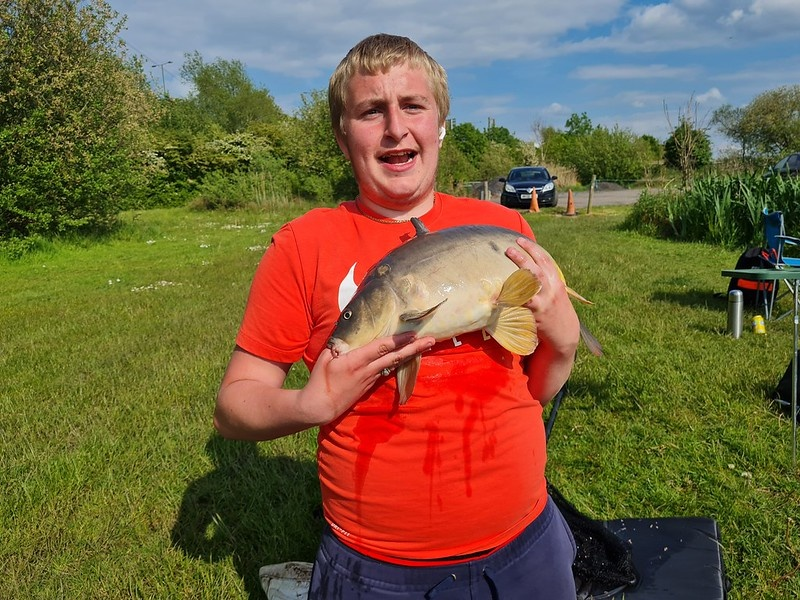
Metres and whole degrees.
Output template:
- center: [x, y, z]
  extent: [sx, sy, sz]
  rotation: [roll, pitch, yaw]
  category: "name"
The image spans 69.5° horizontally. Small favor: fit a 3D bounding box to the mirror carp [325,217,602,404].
- center: [0.319, -0.025, 3.113]
  extent: [1.412, 0.917, 0.563]
  rotation: [-19, -2, -11]
  category: "mirror carp"
